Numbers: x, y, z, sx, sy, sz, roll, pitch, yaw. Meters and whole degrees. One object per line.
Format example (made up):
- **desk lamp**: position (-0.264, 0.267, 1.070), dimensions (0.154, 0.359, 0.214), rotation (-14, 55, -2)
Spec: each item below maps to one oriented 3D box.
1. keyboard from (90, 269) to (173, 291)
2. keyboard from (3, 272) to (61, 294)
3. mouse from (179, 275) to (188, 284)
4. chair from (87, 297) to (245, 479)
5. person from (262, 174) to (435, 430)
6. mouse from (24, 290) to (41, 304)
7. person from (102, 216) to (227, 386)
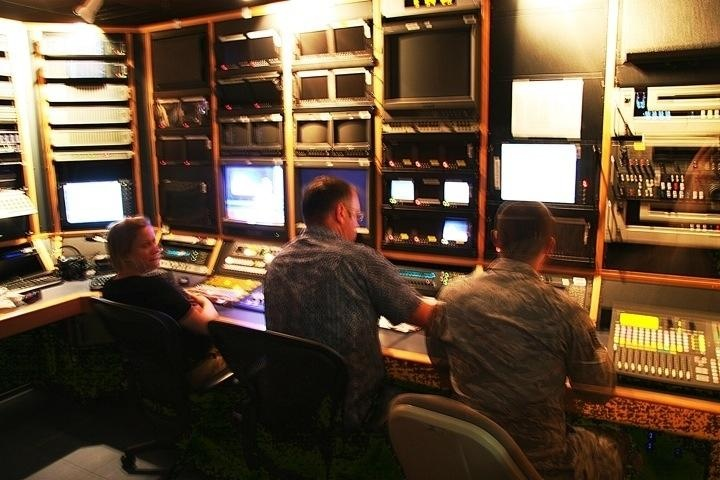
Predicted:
- **keyboard**: position (-1.688, 0.287, 3.872), dimensions (0.513, 0.070, 0.276), rotation (-3, 10, -26)
- **keyboard**: position (-2.387, 0.308, 3.819), dimensions (0.149, 0.033, 0.241), rotation (9, 15, 28)
- **mouse**: position (-1.266, 0.281, 3.761), dimensions (0.049, 0.020, 0.049), rotation (18, 18, 40)
- **chair**: position (-1.147, 0.932, 3.190), dimensions (0.739, 1.074, 0.787), rotation (18, 31, 24)
- **person**: position (-0.046, 0.420, 2.926), dimensions (0.905, 1.394, 0.845), rotation (1, 1, 5)
- **mouse**: position (-2.240, 0.379, 3.581), dimensions (0.069, 0.022, 0.095), rotation (9, 25, -3)
- **person**: position (-1.172, 0.383, 3.277), dimensions (0.700, 1.070, 0.595), rotation (-15, 14, -22)
